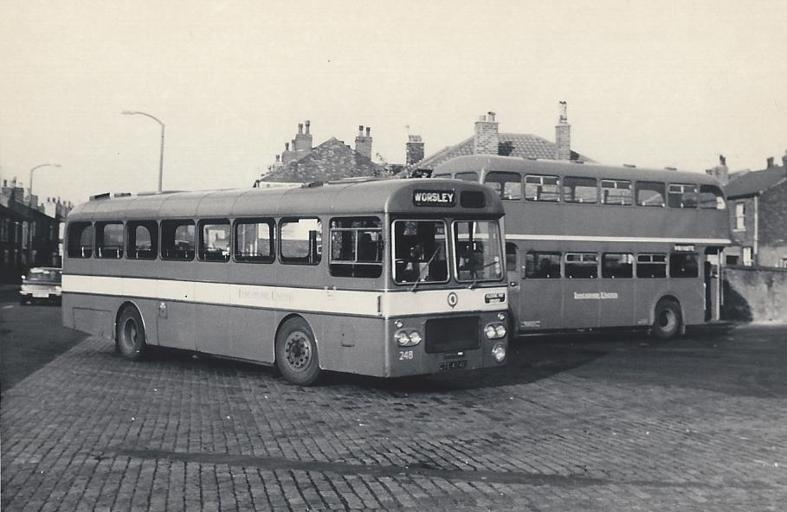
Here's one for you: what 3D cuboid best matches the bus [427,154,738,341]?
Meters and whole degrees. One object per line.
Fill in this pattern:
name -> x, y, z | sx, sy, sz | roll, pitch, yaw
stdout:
bus -> 5.549, -0.271, 26.332 | 8.695, 4.752, 2.659 | 3, 3, -9

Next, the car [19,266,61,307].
car -> -15.362, 1.374, 38.282 | 1.557, 1.441, 1.849 | -1, 5, -20
